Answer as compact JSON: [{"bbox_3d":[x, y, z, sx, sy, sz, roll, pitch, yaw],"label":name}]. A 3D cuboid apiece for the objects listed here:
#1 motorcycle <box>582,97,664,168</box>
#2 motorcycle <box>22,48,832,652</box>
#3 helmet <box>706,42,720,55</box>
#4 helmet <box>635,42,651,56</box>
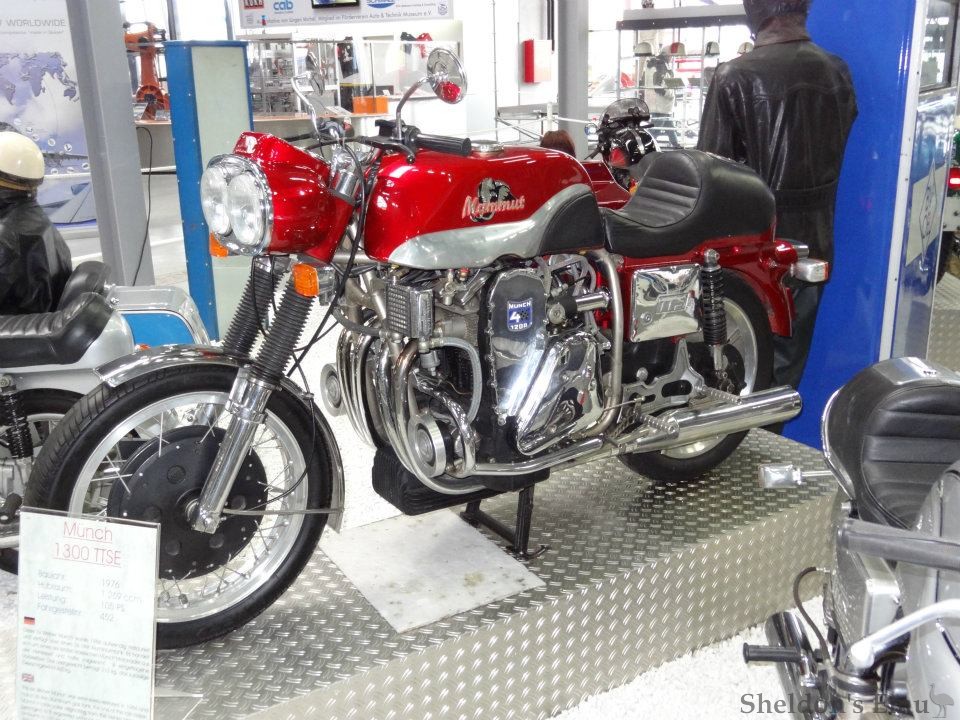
[{"bbox_3d":[1.010,-1.600,5.177,0.381,0.458,0.771,-14,27,13],"label":"motorcycle"},{"bbox_3d":[-0.085,-0.393,3.239,3.018,2.176,1.324,-10,16,-22],"label":"motorcycle"},{"bbox_3d":[2.666,-3.594,8.406,0.125,0.171,0.167,1,9,5],"label":"helmet"},{"bbox_3d":[1.920,-3.683,8.657,0.166,0.154,0.183,4,11,5],"label":"helmet"}]
